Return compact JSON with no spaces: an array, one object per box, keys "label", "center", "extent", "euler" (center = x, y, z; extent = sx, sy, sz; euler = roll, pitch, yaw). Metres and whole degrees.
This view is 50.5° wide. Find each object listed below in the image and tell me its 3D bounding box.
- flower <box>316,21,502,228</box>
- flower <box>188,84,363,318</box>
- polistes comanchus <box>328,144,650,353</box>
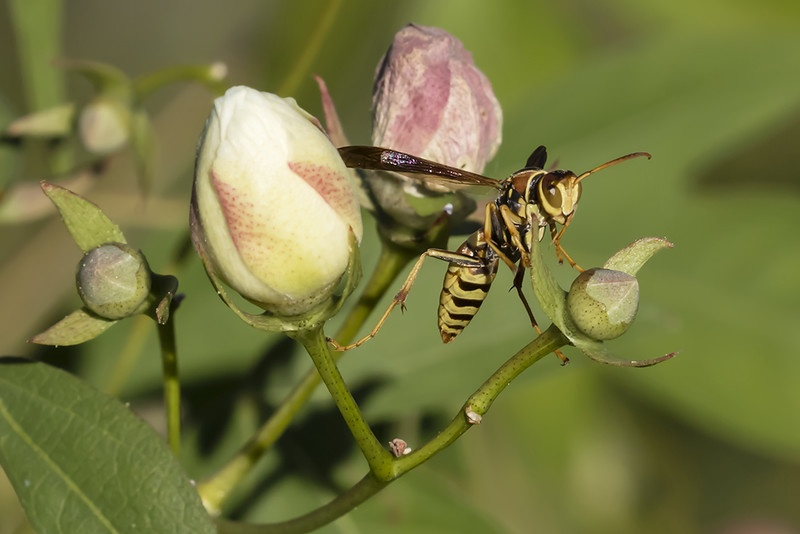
[{"label":"flower","center":[0.011,-0.228,1.276],"extent":[0.348,0.232,0.214],"euler":[1,19,20]},{"label":"flower","center":[-0.168,-0.055,1.108],"extent":[0.228,0.242,0.309],"euler":[-5,-3,0]},{"label":"polistes comanchus","center":[0.131,-0.014,1.155],"extent":[0.331,0.179,0.329],"euler":[0,-10,-40]}]
